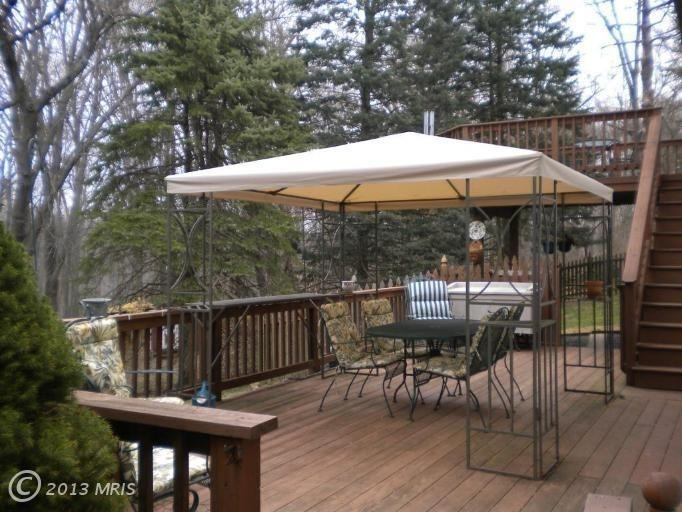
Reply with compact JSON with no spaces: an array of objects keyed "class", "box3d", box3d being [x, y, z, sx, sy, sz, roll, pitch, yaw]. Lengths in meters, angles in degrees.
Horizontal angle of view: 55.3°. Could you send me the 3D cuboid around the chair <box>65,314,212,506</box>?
[{"class":"chair","box3d":[-1.407,1.115,4.496,0.766,1.204,1.363,-3,7,-30]}]
